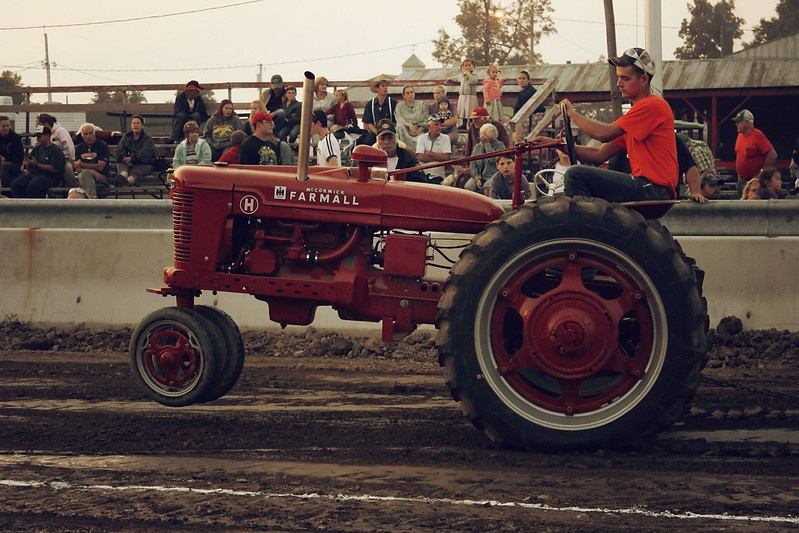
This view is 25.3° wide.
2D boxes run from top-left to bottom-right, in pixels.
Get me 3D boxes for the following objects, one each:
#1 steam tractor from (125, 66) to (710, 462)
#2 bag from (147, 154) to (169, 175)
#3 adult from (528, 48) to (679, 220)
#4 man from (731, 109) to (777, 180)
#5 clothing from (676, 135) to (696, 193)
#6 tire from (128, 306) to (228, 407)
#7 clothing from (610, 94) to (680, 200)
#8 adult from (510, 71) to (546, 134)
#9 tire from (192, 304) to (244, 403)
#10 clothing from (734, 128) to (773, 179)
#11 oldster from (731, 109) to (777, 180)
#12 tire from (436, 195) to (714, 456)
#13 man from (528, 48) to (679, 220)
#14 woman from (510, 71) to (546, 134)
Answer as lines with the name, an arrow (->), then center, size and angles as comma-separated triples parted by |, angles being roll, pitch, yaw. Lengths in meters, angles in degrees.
steam tractor -> 0.721, -0.028, 24.283 | 7.139, 4.725, 4.045 | 2, 2, 9
bag -> -4.064, -1.678, 29.718 | 0.372, 0.311, 0.665 | 0, 9, -4
adult -> 2.805, -1.344, 22.791 | 1.521, 2.838, 1.216 | 4, -7, -3
man -> 5.831, -1.945, 29.298 | 0.643, 1.183, 1.144 | 2, 5, 10
clothing -> 3.724, -1.288, 23.291 | 0.325, 0.817, 0.236 | 11, -35, 7
tire -> -2.885, 1.155, 22.943 | 1.188, 1.270, 0.504 | -1, 7, 18
clothing -> 3.039, -1.543, 22.772 | 0.981, 1.334, 0.920 | 0, -4, -24
adult -> 2.231, -2.866, 31.870 | 0.403, 1.231, 0.332 | 5, 25, 10
tire -> -2.557, 1.083, 23.162 | 0.991, 1.046, 1.007 | 0, 5, -10
clothing -> 5.765, -1.830, 29.499 | 0.449, 0.847, 0.810 | -1, 3, -28
oldster -> 5.828, -1.944, 29.286 | 0.631, 1.183, 1.168 | 1, 5, 6
tire -> 2.116, 0.792, 22.017 | 2.811, 2.910, 1.004 | -4, -1, 5
man -> 2.765, -1.332, 22.819 | 1.613, 2.894, 1.233 | 7, -9, -17
woman -> 2.247, -2.891, 31.881 | 0.392, 1.222, 0.349 | 10, 29, 19
